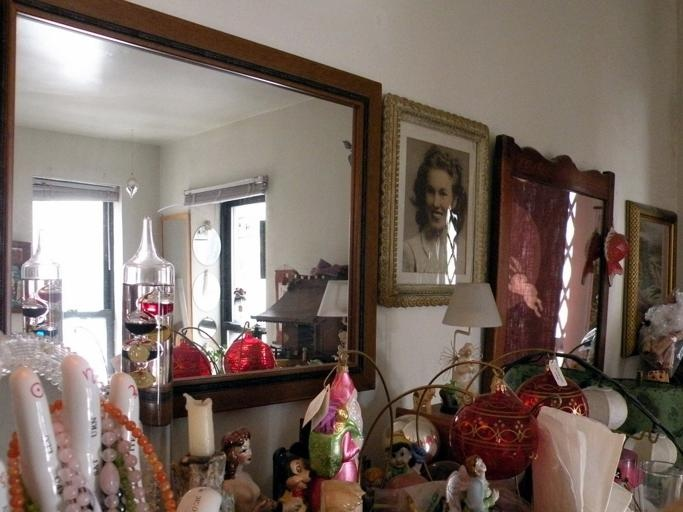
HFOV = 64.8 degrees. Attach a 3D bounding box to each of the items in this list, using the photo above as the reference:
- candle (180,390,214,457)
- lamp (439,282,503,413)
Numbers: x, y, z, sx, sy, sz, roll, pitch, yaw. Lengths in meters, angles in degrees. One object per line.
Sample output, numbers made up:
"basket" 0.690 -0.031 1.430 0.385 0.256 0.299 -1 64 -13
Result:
"candle" -0.310 0.357 1.172 0.059 0.126 0.129 0 -1 -17
"lamp" 0.477 0.264 1.773 0.258 0.519 0.279 -1 0 22
